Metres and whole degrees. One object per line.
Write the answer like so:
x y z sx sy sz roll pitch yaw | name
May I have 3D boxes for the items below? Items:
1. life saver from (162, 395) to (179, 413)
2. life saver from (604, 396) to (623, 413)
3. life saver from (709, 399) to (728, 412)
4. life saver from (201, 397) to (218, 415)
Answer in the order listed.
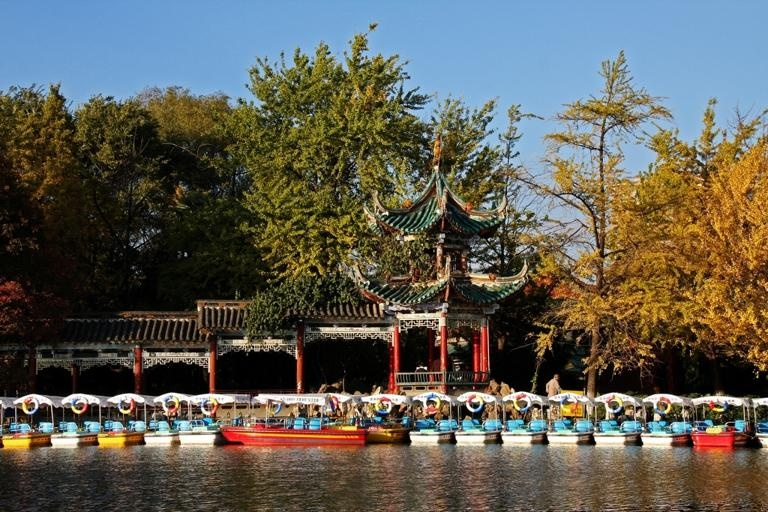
-11.445 8.058 75.108 0.959 0.990 0.262 9 2 26 | life saver
12.379 8.018 74.598 1.065 1.120 0.287 -3 -3 39 | life saver
17.630 7.950 73.172 0.931 0.678 2.087 -7 -2 12 | life saver
-9.305 8.068 74.740 1.029 1.084 0.278 -6 4 24 | life saver
